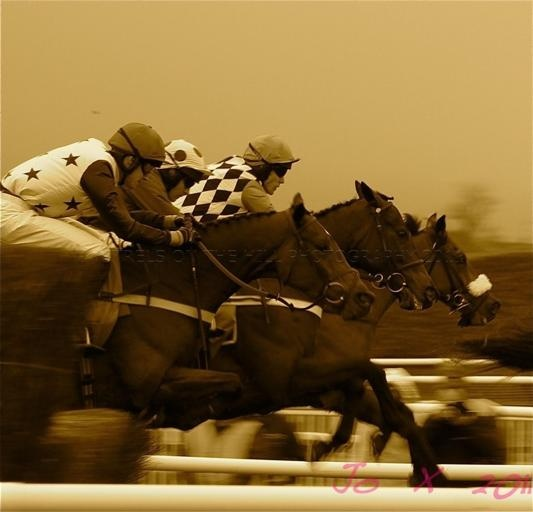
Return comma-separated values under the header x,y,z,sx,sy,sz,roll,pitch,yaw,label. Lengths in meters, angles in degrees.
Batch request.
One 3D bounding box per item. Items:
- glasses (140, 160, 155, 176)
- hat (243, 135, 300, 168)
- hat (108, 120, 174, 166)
x,y,z,sx,sy,sz,roll,pitch,yaw,label
-0.571,-0.425,4.121,0.061,0.063,0.020,3,37,-15,glasses
-0.002,-0.515,4.194,0.273,0.121,0.094,-2,3,31,hat
-0.594,-0.534,4.042,0.304,0.161,0.191,27,8,-11,hat
